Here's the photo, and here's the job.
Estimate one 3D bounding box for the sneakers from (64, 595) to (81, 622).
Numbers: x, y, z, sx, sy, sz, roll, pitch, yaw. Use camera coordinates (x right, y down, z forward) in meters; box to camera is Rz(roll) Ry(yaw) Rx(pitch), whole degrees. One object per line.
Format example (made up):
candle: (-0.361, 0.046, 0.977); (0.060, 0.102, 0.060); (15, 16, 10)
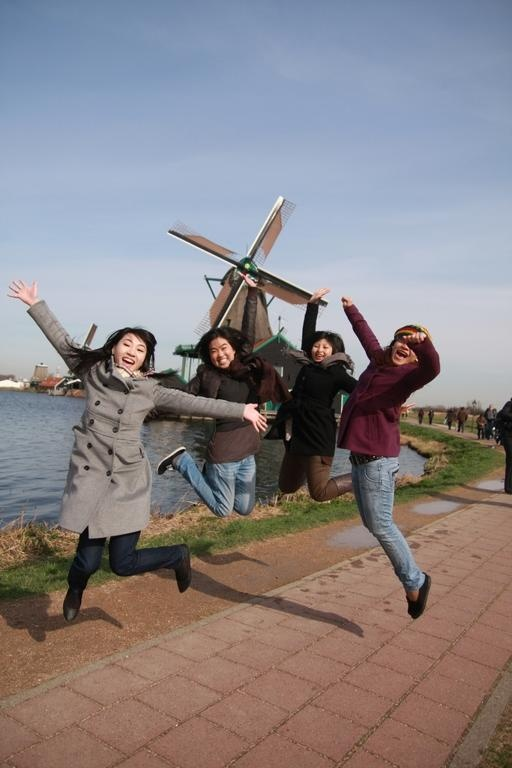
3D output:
sneakers: (-1.137, 1.347, 3.239); (0.088, 0.174, 0.126); (4, -6, -21)

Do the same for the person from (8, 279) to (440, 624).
person: (-0.866, 0.443, 3.453); (1.285, 2.021, 0.652); (4, -6, -21)
